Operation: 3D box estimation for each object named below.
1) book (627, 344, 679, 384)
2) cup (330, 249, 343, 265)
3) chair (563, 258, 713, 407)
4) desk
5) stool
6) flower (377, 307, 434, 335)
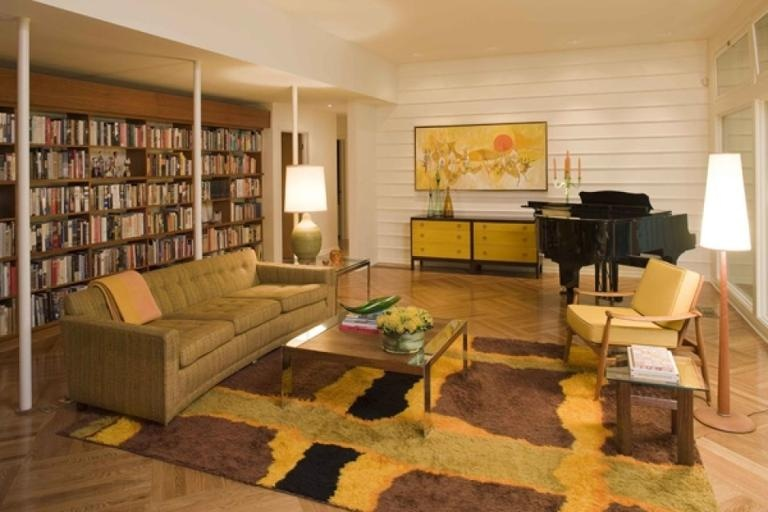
[{"bbox_3d":[1.925,0.772,3.731,0.239,0.066,0.320,2,9,16],"label":"book"},{"bbox_3d":[-0.583,0.023,6.437,0.209,0.172,0.174,0,8,2],"label":"cup"},{"bbox_3d":[2.400,0.604,4.975,1.260,1.258,1.419,1,2,3],"label":"chair"},{"bbox_3d":[1.582,-0.129,9.047,2.198,0.846,0.630,2,-8,17],"label":"desk"},{"bbox_3d":[1.974,1.137,4.003,0.770,0.620,0.724,2,8,21],"label":"stool"},{"bbox_3d":[0.210,0.510,4.199,0.288,0.112,0.297,3,4,37],"label":"flower"}]
